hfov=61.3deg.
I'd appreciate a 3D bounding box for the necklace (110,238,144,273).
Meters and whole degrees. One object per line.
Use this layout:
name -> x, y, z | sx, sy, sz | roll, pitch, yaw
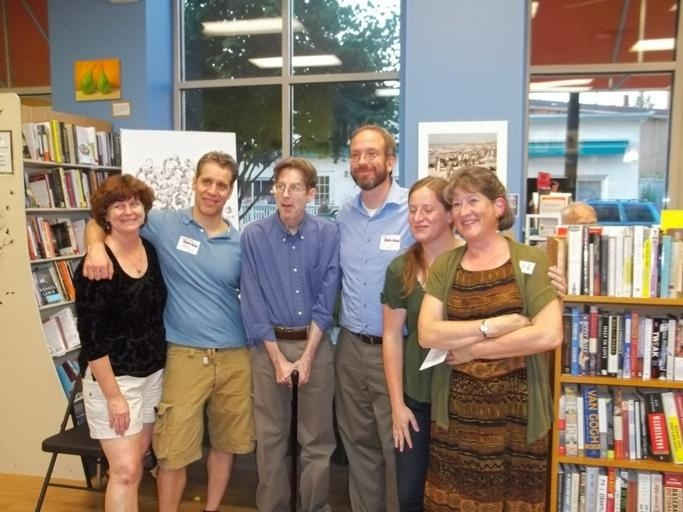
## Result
necklace -> -1.306, 0.013, 3.510 | 0.066, 0.193, 0.195 | -18, 1, 35
